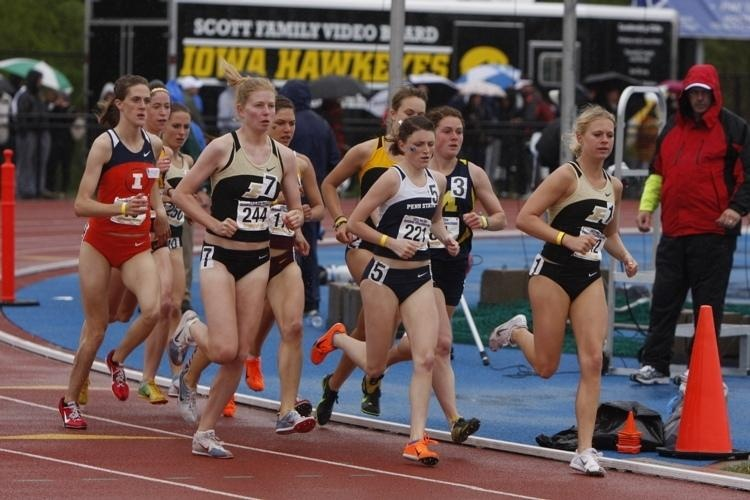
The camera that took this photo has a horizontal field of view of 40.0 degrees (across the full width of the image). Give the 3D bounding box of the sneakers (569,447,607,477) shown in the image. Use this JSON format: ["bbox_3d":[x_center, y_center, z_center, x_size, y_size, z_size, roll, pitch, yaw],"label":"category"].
[{"bbox_3d":[1.755,1.757,8.570,0.142,0.185,0.362,7,-3,-36],"label":"sneakers"}]

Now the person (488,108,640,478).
[{"bbox_3d":[1.733,0.270,8.896,0.671,3.023,0.942,-1,7,-42],"label":"person"}]

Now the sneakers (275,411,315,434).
[{"bbox_3d":[-0.675,1.521,9.047,0.402,0.210,0.153,-17,-43,33],"label":"sneakers"}]

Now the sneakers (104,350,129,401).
[{"bbox_3d":[-2.462,1.221,9.982,0.175,0.552,0.206,-9,-14,-44],"label":"sneakers"}]

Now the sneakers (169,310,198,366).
[{"bbox_3d":[-1.785,0.805,9.564,0.213,0.651,0.278,-3,37,-30],"label":"sneakers"}]

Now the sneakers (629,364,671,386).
[{"bbox_3d":[2.955,1.347,11.156,0.430,0.221,0.170,6,0,-7],"label":"sneakers"}]

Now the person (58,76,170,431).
[{"bbox_3d":[-2.360,-0.003,9.513,0.994,3.199,0.939,0,6,-33],"label":"person"}]

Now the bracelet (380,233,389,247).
[{"bbox_3d":[0.089,-0.081,8.776,0.101,0.098,0.061,6,6,25],"label":"bracelet"}]

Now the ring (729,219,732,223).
[{"bbox_3d":[3.481,-0.287,10.077,0.034,0.037,0.008,0,-3,4],"label":"ring"}]

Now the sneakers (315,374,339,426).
[{"bbox_3d":[-0.435,1.446,9.779,0.178,0.535,0.218,7,0,-37],"label":"sneakers"}]

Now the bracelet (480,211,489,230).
[{"bbox_3d":[1.012,-0.259,9.490,0.048,0.132,0.095,-7,4,-12],"label":"bracelet"}]

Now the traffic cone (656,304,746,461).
[{"bbox_3d":[2.871,1.165,8.875,0.458,1.284,0.499,-1,7,-41],"label":"traffic cone"}]

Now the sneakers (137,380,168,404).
[{"bbox_3d":[-2.143,1.393,10.007,0.341,0.166,0.162,17,25,40],"label":"sneakers"}]

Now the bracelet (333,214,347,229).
[{"bbox_3d":[-0.329,-0.271,9.777,0.116,0.119,0.094,17,35,-42],"label":"bracelet"}]

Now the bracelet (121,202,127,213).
[{"bbox_3d":[-2.215,-0.372,9.103,0.019,0.079,0.078,9,-22,-12],"label":"bracelet"}]

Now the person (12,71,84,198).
[{"bbox_3d":[-8.033,-2.769,24.563,0.862,3.034,1.122,-2,-2,37],"label":"person"}]

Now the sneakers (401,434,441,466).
[{"bbox_3d":[0.388,1.682,8.648,0.286,0.260,0.290,4,6,2],"label":"sneakers"}]

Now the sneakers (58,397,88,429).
[{"bbox_3d":[-2.746,1.485,9.399,0.145,0.172,0.362,-6,19,-37],"label":"sneakers"}]

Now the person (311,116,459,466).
[{"bbox_3d":[0.168,0.267,8.933,0.624,2.855,1.347,-1,7,-38],"label":"person"}]

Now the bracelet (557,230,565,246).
[{"bbox_3d":[1.591,-0.104,8.820,0.083,0.081,0.083,0,9,14],"label":"bracelet"}]
